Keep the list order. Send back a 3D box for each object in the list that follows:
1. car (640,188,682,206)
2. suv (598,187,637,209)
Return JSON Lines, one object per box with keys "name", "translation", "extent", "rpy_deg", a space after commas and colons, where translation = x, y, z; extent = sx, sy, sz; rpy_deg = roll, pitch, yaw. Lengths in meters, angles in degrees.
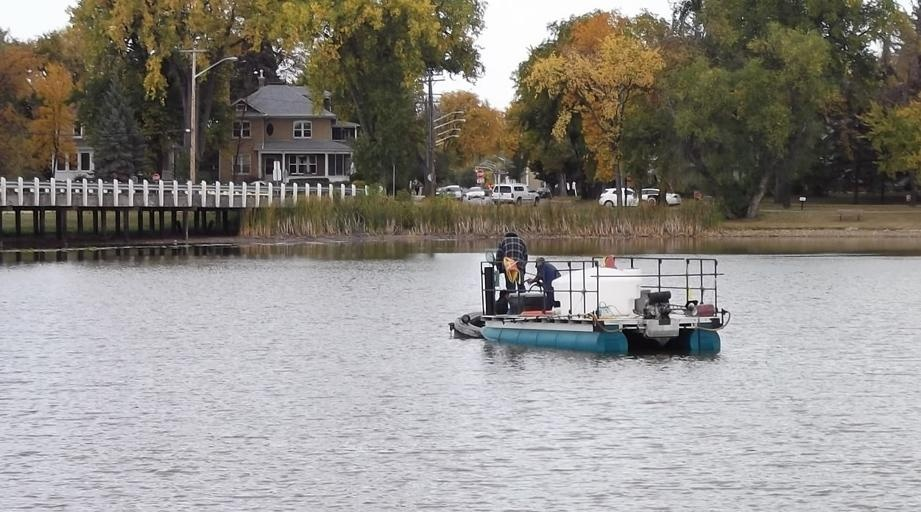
{"name": "car", "translation": [19.654, -5.880, 181.947], "extent": [3.706, 1.682, 8.556], "rpy_deg": [1, 1, 5]}
{"name": "suv", "translation": [15.068, -5.530, 178.878], "extent": [3.863, 1.427, 2.081], "rpy_deg": [-2, 7, 6]}
